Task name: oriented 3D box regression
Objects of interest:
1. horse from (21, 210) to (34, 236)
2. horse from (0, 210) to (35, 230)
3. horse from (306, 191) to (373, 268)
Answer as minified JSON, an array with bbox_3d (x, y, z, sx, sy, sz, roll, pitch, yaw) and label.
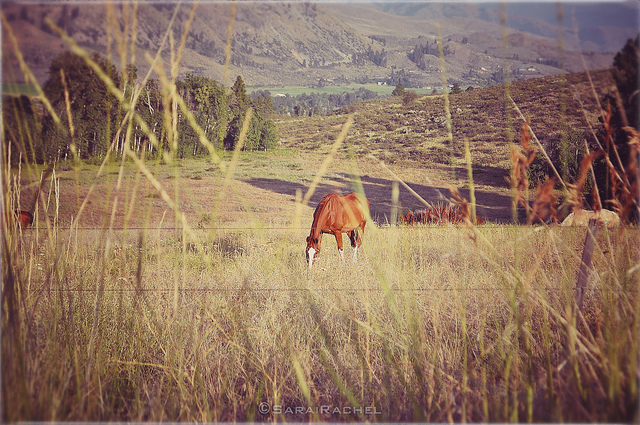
[{"bbox_3d":[-4.429,0.185,10.143,0.119,0.438,1.544,0,4,-24],"label":"horse"},{"bbox_3d":[-3.943,0.090,8.774,0.222,0.305,0.320,-3,5,-13],"label":"horse"},{"bbox_3d":[0.311,0.274,10.970,0.466,1.222,1.857,10,17,31],"label":"horse"}]
